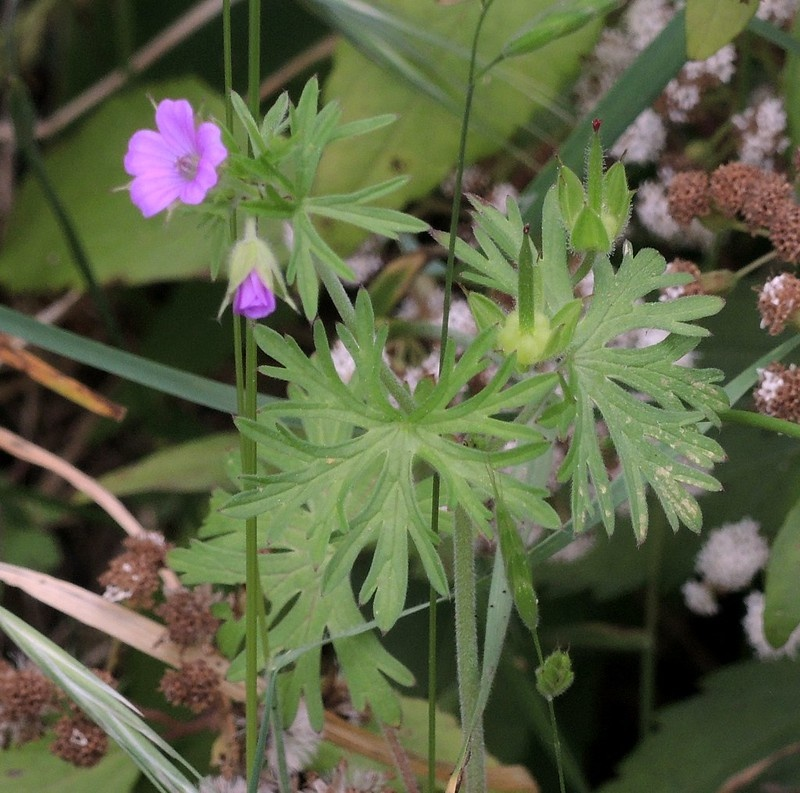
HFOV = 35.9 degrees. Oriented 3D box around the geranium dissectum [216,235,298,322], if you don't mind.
[{"bbox_3d":[-0.198,-0.174,1.736,0.075,0.076,0.168,3,54,1],"label":"geranium dissectum"}]
